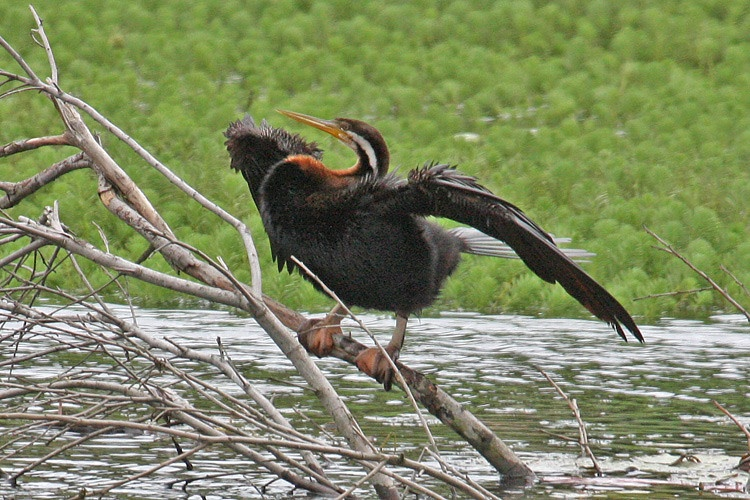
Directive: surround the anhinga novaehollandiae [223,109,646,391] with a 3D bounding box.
[{"bbox_3d":[0.691,-0.200,8.981,3.196,1.350,2.845,20,31,40],"label":"anhinga novaehollandiae"}]
